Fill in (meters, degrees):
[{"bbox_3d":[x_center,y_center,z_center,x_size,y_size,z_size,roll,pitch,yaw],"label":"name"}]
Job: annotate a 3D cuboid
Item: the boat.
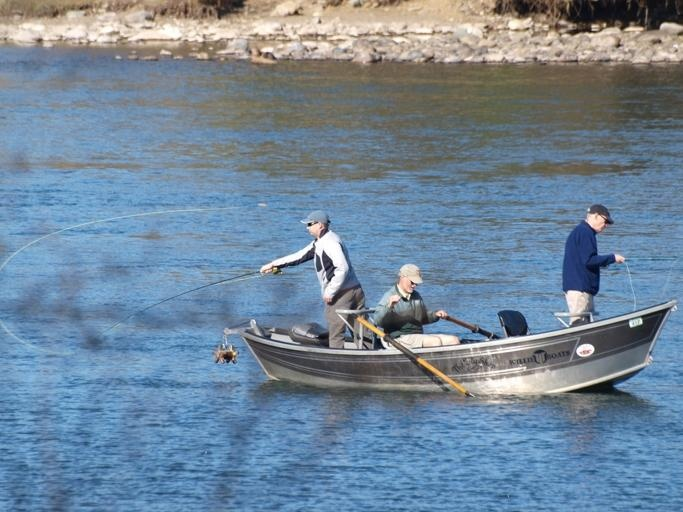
[{"bbox_3d":[3.596,2.358,36.710,12.688,2.197,2.879,-2,-3,14],"label":"boat"}]
